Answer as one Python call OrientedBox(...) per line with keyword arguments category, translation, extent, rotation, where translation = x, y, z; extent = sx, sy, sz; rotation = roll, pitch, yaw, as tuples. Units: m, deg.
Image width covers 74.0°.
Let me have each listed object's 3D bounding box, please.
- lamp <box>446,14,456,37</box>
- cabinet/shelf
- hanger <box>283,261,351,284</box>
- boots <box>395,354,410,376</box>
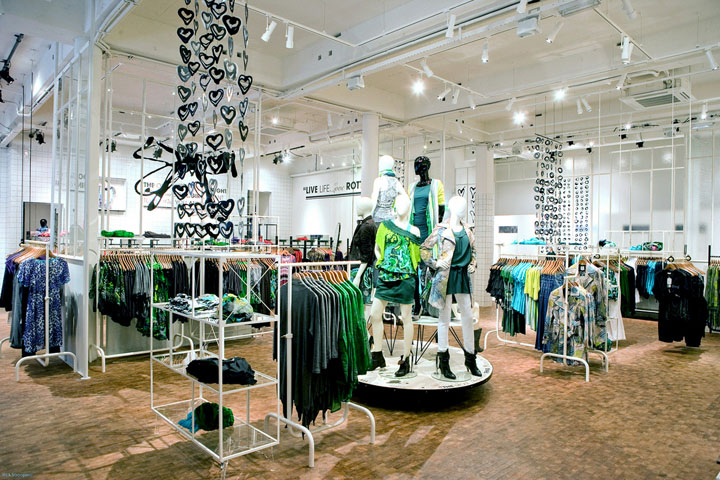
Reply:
OrientedBox(category="lamp", translation=(1.414, -3.302, 7.469), extent=(0.139, 0.340, 0.403), rotation=(2, 7, 10))
OrientedBox(category="cabinet/shelf", translation=(-1.925, 1.620, 6.150), extent=(0.846, 2.677, 2.281), rotation=(3, -3, -35))
OrientedBox(category="hanger", translation=(-0.528, 0.403, 5.699), extent=(0.655, 0.218, 0.473), rotation=(4, -5, -36))
OrientedBox(category="boots", translation=(0.603, 1.742, 6.770), extent=(0.265, 0.283, 0.212), rotation=(0, 7, -11))
